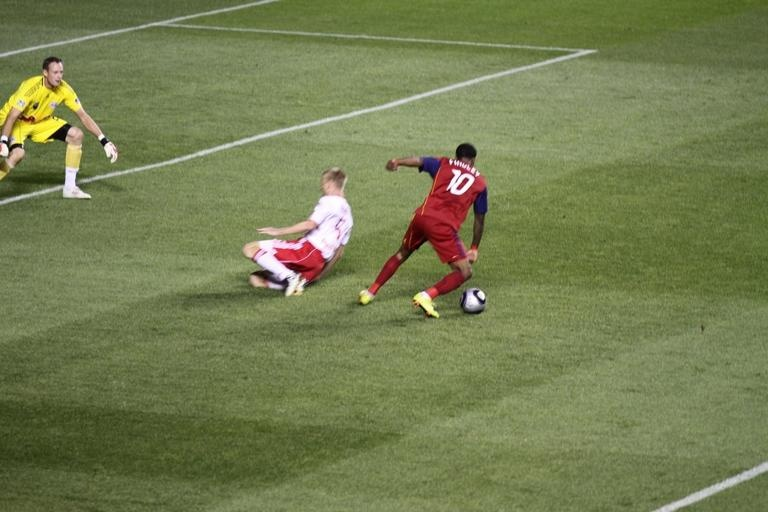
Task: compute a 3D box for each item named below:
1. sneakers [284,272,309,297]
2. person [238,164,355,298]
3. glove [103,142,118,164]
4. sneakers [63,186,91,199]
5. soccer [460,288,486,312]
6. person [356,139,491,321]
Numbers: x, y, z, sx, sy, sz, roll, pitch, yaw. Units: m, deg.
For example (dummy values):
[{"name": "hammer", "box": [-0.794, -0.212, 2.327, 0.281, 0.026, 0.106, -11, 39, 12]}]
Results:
[{"name": "sneakers", "box": [-1.173, 0.426, 15.632, 0.398, 0.170, 0.182, -46, 20, -12]}, {"name": "person", "box": [-1.094, -0.289, 15.432, 1.362, 1.744, 0.680, -1, 11, -3]}, {"name": "glove", "box": [-4.421, -1.663, 18.786, 0.308, 0.362, 0.140, 7, 32, 41]}, {"name": "sneakers", "box": [-4.809, -0.994, 18.207, 0.514, 0.196, 0.174, 1, 8, -4]}, {"name": "soccer", "box": [1.188, 0.611, 15.351, 0.355, 0.311, 0.309, 2, 54, 3]}, {"name": "person", "box": [0.671, -0.281, 15.411, 1.534, 2.041, 0.845, -3, 11, -11]}]
